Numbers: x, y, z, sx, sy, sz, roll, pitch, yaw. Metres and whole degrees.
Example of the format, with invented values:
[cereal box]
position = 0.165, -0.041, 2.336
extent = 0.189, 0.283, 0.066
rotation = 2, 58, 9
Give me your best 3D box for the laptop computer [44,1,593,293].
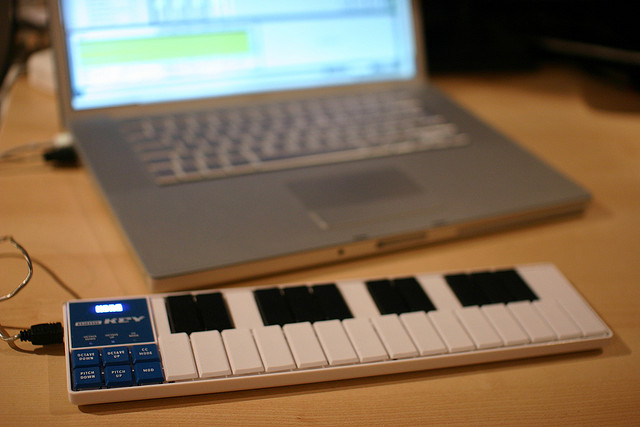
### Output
[laptop computer]
position = -0.012, -0.148, 0.724
extent = 0.596, 0.272, 0.516
rotation = -22, 40, -19
